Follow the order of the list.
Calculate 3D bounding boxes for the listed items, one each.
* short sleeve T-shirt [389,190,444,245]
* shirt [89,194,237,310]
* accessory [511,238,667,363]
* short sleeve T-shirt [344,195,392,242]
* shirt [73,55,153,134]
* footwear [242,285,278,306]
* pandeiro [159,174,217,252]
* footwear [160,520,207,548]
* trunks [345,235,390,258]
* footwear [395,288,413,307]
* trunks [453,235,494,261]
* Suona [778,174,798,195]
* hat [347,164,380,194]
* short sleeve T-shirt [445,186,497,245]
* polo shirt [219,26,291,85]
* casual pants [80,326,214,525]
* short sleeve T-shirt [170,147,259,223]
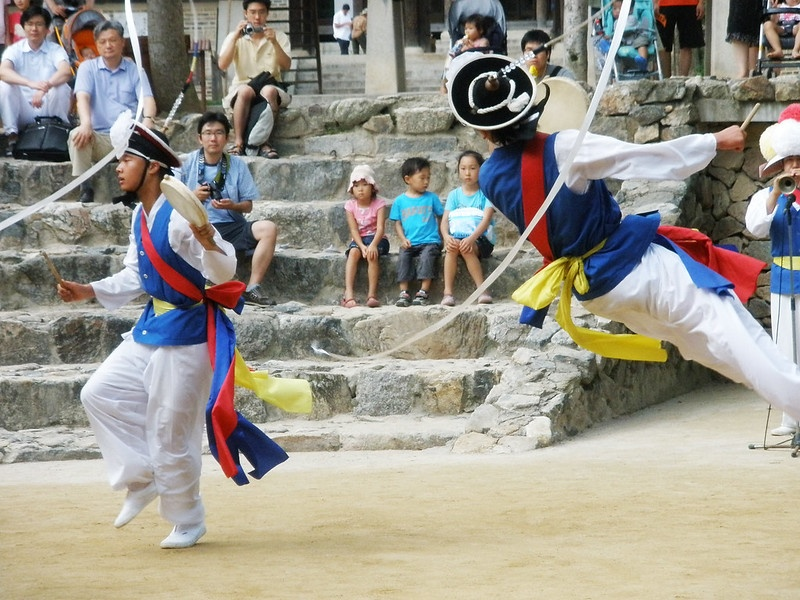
[{"bbox_3d":[0.148,-0.651,17.024,0.487,0.419,0.265,-4,19,4],"label":"short sleeve T-shirt"},{"bbox_3d":[-1.574,-0.296,13.925,1.093,0.654,0.458,-12,8,29],"label":"shirt"},{"bbox_3d":[1.337,-0.041,14.341,0.937,0.871,0.454,0,50,18],"label":"accessory"},{"bbox_3d":[-0.257,-0.684,17.166,0.348,0.290,0.171,-6,21,8],"label":"short sleeve T-shirt"},{"bbox_3d":[-2.417,-1.744,17.960,0.658,0.597,0.330,0,9,-15],"label":"shirt"},{"bbox_3d":[-1.053,-0.020,16.730,0.315,0.127,0.110,5,7,14],"label":"footwear"},{"bbox_3d":[-1.321,-0.569,13.556,0.099,0.390,0.409,-36,20,-8],"label":"pandeiro"},{"bbox_3d":[-1.378,1.529,13.667,0.263,0.098,0.136,-8,10,-44],"label":"footwear"},{"bbox_3d":[-0.195,-0.445,17.040,0.237,0.096,0.202,0,-17,-3],"label":"trunks"},{"bbox_3d":[0.042,-0.008,16.713,0.137,0.148,0.329,0,-4,2],"label":"footwear"},{"bbox_3d":[0.588,-0.404,16.766,0.226,0.210,0.085,-8,-2,-27],"label":"trunks"},{"bbox_3d":[2.582,-0.779,14.264,0.128,0.117,0.134,-4,4,15],"label":"Suona"},{"bbox_3d":[-0.274,-1.010,17.198,0.199,0.144,0.250,2,7,43],"label":"hat"},{"bbox_3d":[0.468,-0.712,16.892,0.422,0.180,0.508,-1,36,-2],"label":"short sleeve T-shirt"},{"bbox_3d":[-1.252,-2.085,18.474,0.625,0.622,0.391,3,-1,-7],"label":"polo shirt"},{"bbox_3d":[-1.611,0.857,13.782,0.835,1.231,0.312,-2,3,-5],"label":"casual pants"},{"bbox_3d":[-1.415,-0.909,16.736,0.644,0.573,0.253,11,34,19],"label":"short sleeve T-shirt"}]
